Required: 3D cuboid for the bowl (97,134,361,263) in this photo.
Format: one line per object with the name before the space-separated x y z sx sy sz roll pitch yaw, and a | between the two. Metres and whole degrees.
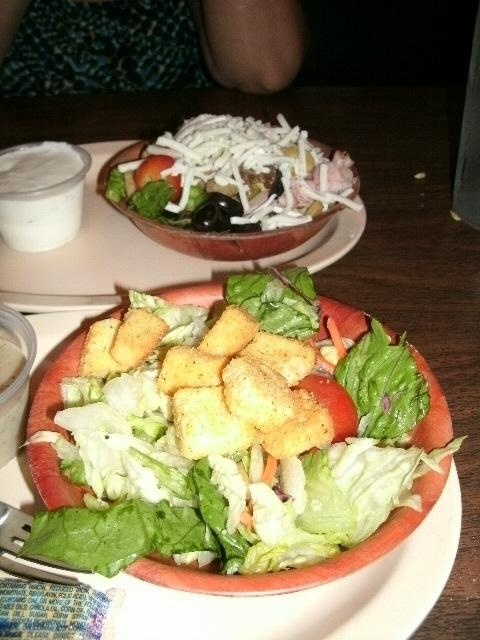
bowl | -0.045 -0.224 1.427 0.506 0.485 0.114 9 62 1
